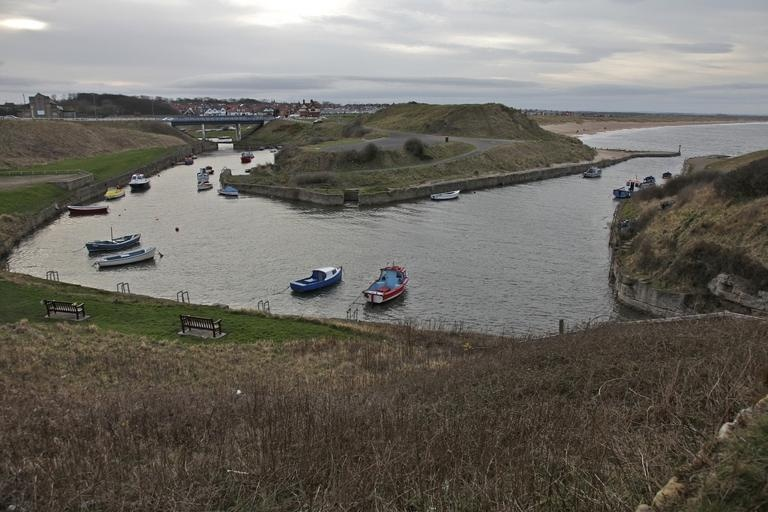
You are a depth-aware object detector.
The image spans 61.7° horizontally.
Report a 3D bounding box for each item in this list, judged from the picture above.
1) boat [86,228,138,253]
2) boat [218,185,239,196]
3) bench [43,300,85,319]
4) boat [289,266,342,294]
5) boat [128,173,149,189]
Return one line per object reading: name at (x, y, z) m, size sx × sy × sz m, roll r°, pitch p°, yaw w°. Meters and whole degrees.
boat at (-20.161, -1.119, 48.040) m, size 1.619 × 1.425 × 3.769 m, roll 12°, pitch 15°, yaw 33°
boat at (-17.597, -7.179, 71.811) m, size 2.725 × 0.942 × 1.259 m, roll 11°, pitch 26°, yaw 36°
bench at (-15.208, 2.501, 30.589) m, size 2.228 × 0.750 × 1.119 m, roll 2°, pitch 11°, yaw 7°
boat at (-4.050, 1.544, 39.890) m, size 1.317 × 0.973 × 3.632 m, roll 14°, pitch 22°, yaw 38°
boat at (-28.359, -8.454, 74.301) m, size 1.819 × 1.757 × 1.932 m, roll -3°, pitch 12°, yaw -17°
